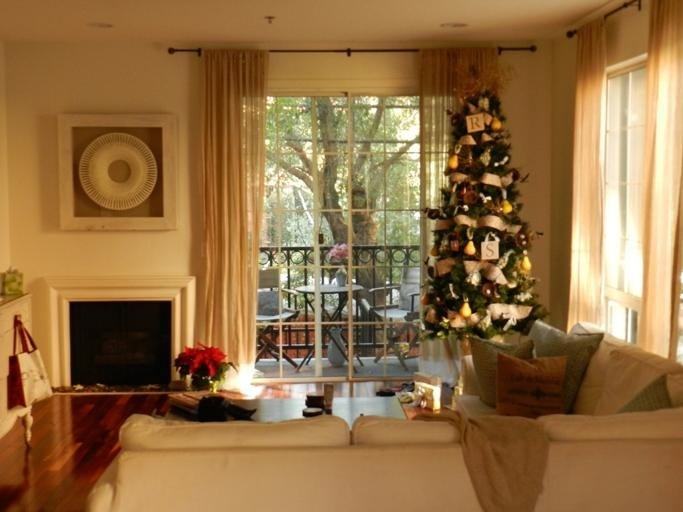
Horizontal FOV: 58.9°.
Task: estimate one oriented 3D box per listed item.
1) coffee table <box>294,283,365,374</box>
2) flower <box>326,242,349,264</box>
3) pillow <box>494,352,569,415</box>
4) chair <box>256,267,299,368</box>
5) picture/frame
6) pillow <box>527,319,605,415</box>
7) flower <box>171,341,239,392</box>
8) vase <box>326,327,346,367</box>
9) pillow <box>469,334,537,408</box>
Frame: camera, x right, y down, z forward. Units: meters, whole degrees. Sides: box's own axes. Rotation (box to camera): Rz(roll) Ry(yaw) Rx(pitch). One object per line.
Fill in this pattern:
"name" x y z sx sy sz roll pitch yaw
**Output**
"coffee table" -0.091 0.725 6.537 0.766 0.897 0.744 5 -7 -41
"flower" -0.032 -0.028 6.285 0.196 0.189 0.208 2 1 24
"pillow" 1.295 0.907 4.144 0.480 0.487 0.184 2 -4 11
"chair" -0.794 0.618 6.055 0.659 1.021 0.698 1 -3 -11
"picture/frame" -2.287 -0.879 6.042 1.132 1.133 0.096 1 0 -3
"pillow" 1.582 0.753 4.240 0.145 0.487 0.494 19 0 -25
"flower" -1.194 0.950 5.350 0.444 0.350 0.476 5 0 24
"vase" -0.058 0.985 6.497 0.227 0.385 0.227 -1 2 10
"pillow" 1.214 0.892 4.436 0.215 0.562 0.547 28 -5 -21
